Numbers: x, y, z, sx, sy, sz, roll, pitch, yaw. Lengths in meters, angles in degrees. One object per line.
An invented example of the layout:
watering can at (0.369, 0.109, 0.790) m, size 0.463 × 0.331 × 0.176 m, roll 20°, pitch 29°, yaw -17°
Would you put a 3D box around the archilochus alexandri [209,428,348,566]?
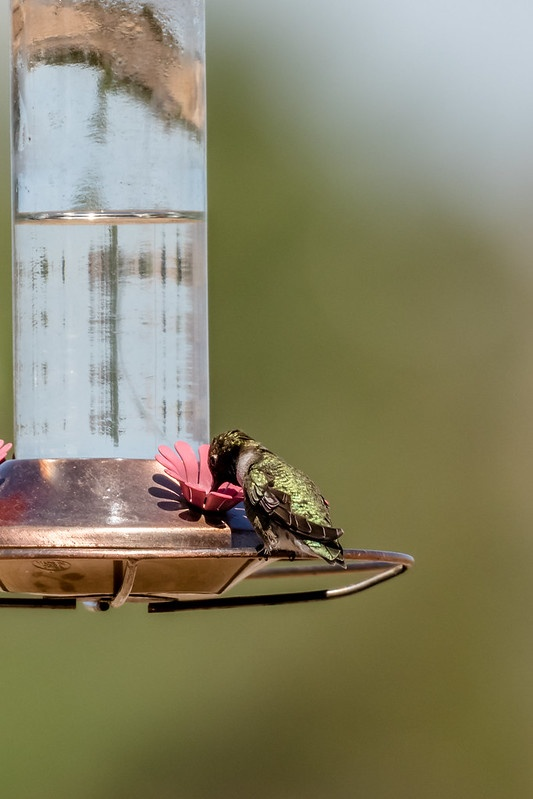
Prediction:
archilochus alexandri at (0.009, 0.068, 0.809) m, size 0.117 × 0.083 × 0.052 m, roll 4°, pitch 0°, yaw 34°
